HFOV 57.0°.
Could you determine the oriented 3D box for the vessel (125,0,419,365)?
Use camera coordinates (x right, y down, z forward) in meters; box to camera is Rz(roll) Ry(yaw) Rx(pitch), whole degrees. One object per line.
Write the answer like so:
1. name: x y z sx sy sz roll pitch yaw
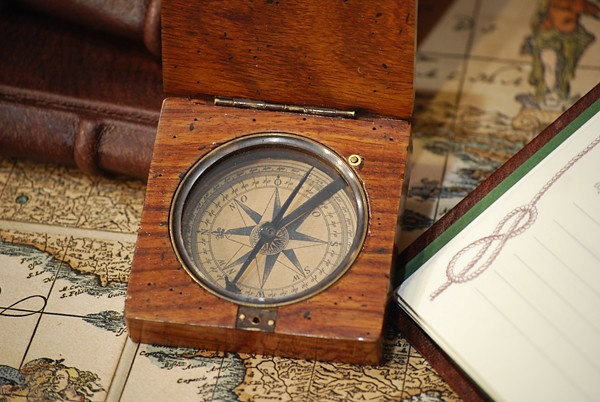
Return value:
1. vessel: -0.055 -0.064 1.692 0.690 0.959 0.677 6 -11 6
